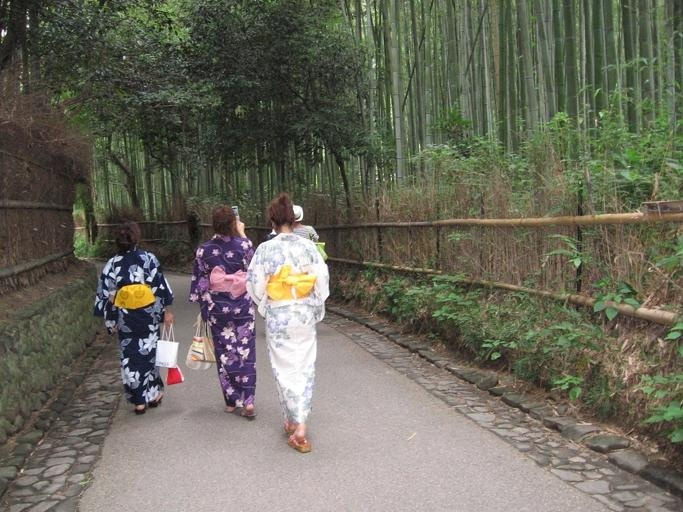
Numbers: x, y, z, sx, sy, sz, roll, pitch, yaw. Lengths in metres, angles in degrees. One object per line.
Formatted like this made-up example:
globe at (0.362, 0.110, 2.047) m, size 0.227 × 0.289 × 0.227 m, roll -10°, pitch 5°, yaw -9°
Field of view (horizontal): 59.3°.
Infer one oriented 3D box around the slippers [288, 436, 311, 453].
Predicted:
slippers at (-0.313, 1.398, 4.507) m, size 0.164 × 0.108 × 0.188 m, roll -3°, pitch 7°, yaw -12°

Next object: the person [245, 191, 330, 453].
person at (-0.455, 0.476, 4.667) m, size 0.584 × 1.905 × 0.533 m, roll 1°, pitch 7°, yaw 21°

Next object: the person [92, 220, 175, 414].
person at (-1.859, 0.528, 5.427) m, size 0.486 × 1.674 × 0.605 m, roll 3°, pitch 8°, yaw 33°
